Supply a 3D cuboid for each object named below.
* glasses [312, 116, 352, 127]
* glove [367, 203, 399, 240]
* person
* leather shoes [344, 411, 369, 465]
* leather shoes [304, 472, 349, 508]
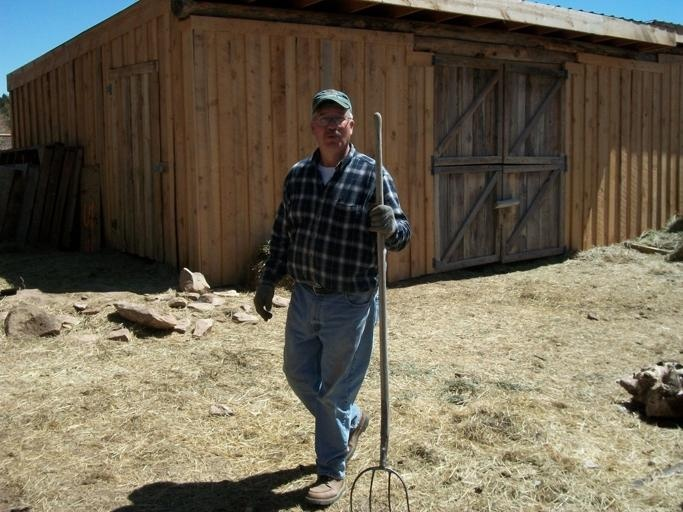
[{"bbox_3d":[-0.055,-0.932,4.550,0.270,0.067,0.102,-2,14,-16],"label":"glasses"},{"bbox_3d":[0.298,-0.226,4.430,0.148,0.259,0.259,8,14,29],"label":"glove"},{"bbox_3d":[-0.074,0.284,4.588,1.059,2.797,0.649,3,11,7],"label":"person"},{"bbox_3d":[0.121,1.350,4.979,0.132,0.394,0.131,26,-16,-29],"label":"leather shoes"},{"bbox_3d":[-0.116,1.627,4.555,0.125,0.148,0.294,-3,-8,25],"label":"leather shoes"}]
